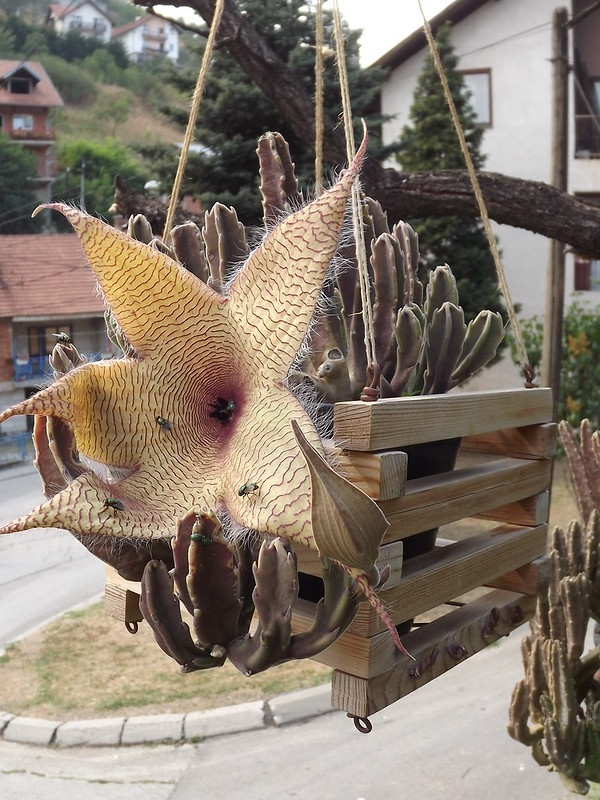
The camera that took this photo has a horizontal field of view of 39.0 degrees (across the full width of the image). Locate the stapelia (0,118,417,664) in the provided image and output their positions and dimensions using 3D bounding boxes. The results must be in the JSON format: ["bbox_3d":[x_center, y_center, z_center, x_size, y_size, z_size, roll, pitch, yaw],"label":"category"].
[{"bbox_3d":[-0.101,0.007,0.861,0.373,0.514,0.456,-2,9,5],"label":"stapelia"}]
